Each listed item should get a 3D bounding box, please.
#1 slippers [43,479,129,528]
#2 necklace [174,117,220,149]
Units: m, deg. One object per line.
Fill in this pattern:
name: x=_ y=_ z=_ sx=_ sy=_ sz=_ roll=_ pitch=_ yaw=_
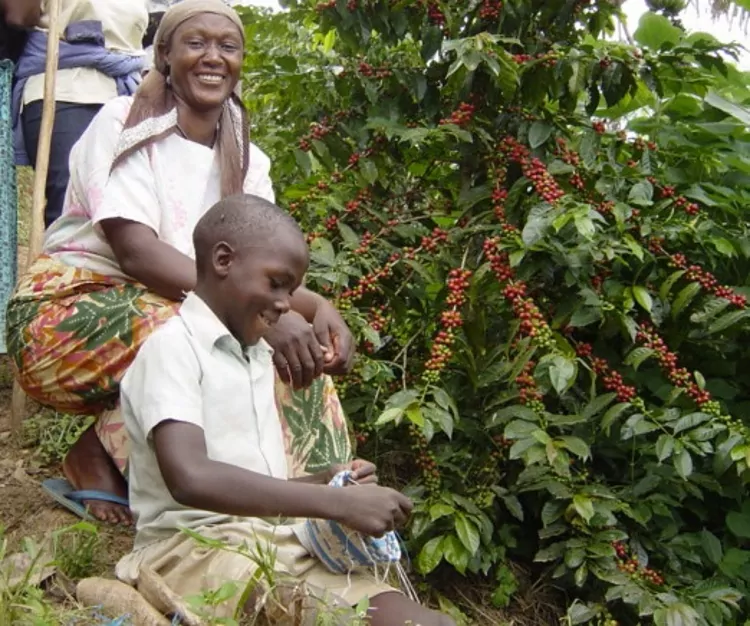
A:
slippers: x=-1.121 y=0.688 z=2.982 sx=0.372 sy=0.081 sz=0.148 roll=17 pitch=17 yaw=36
necklace: x=-0.673 y=-0.689 z=2.976 sx=0.139 sy=0.089 sz=0.125 roll=9 pitch=19 yaw=-14
